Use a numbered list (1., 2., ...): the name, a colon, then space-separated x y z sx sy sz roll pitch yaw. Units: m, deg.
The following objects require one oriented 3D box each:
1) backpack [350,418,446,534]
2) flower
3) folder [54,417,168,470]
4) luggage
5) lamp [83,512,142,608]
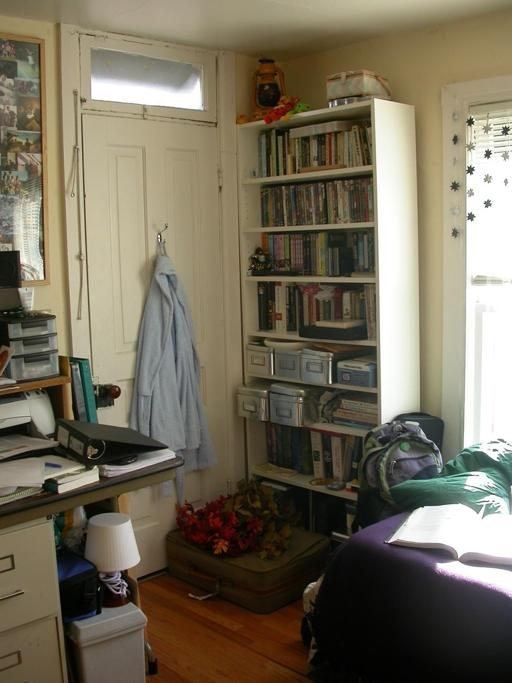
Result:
1. backpack: 0.576 0.503 2.291 0.318 0.411 0.241 -14 23 -9
2. flower: -0.101 0.858 2.805 0.451 0.235 0.493 -20 5 -22
3. folder: -0.434 0.340 1.869 0.291 0.080 0.290 -5 -8 -5
4. luggage: -0.041 1.019 2.817 0.700 0.217 0.610 3 10 37
5. lamp: -0.481 0.745 1.941 0.175 0.251 0.173 -8 -9 39
